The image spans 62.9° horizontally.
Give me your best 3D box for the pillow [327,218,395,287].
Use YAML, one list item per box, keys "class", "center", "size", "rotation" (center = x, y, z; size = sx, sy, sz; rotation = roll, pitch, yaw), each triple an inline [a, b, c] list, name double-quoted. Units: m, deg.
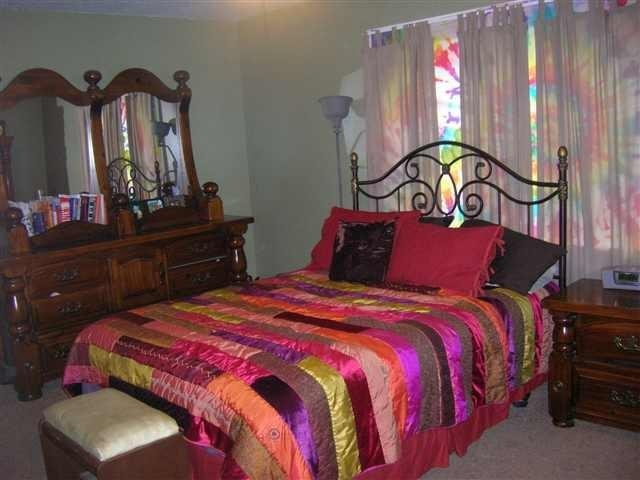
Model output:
- class: "pillow"
  center: [0.281, 0.091, 3.339]
  size: [0.419, 0.399, 0.128]
  rotation: [3, -13, 41]
